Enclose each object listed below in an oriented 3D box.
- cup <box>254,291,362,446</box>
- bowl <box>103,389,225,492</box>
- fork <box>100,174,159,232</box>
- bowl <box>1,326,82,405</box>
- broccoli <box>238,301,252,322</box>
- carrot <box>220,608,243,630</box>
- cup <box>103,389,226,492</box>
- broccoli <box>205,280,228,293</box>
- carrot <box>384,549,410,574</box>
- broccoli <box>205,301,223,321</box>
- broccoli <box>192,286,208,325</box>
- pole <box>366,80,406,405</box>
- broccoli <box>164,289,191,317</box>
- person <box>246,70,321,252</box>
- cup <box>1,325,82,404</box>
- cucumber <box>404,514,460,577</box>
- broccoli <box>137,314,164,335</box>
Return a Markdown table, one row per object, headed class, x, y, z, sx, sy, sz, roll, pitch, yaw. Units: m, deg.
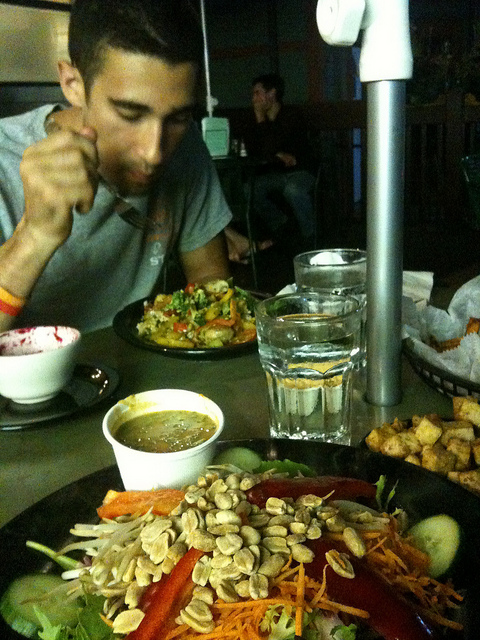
| class | x | y | z | sx | sy | sz | roll | pitch | yaw |
| --- | --- | --- | --- | --- | --- | --- | --- | --- | --- |
| cup | 0.111 | 0.101 | 0.860 | 0.136 | 0.201 | 0.136 | -5 | -2 | 0 |
| bowl | -0.101 | 0.150 | 0.708 | 0.124 | 0.093 | 0.127 | 1 | 18 | 0 |
| fork | -0.392 | -0.376 | 1.835 | 0.049 | 0.039 | 0.357 | 0 | 36 | -45 |
| bowl | -0.386 | 0.079 | 1.043 | 0.157 | 0.089 | 0.156 | -1 | 7 | 0 |
| broccoli | 0.013 | -0.025 | 1.495 | 0.033 | 0.013 | 0.051 | -4 | 61 | -26 |
| carrot | -0.007 | 0.255 | 0.470 | 0.007 | 0.005 | 0.029 | 15 | 34 | 30 |
| cup | -0.101 | 0.150 | 0.711 | 0.123 | 0.091 | 0.126 | 1 | 18 | 0 |
| broccoli | -0.069 | -0.100 | 1.618 | 0.059 | 0.021 | 0.064 | 6 | 14 | 8 |
| carrot | 0.152 | 0.233 | 0.530 | 0.023 | 0.021 | 0.010 | 4 | 18 | 26 |
| broccoli | -0.073 | -0.026 | 1.486 | 0.037 | 0.015 | 0.050 | 3 | 52 | -9 |
| broccoli | -0.113 | -0.040 | 1.522 | 0.034 | 0.039 | 0.107 | 27 | 36 | -28 |
| pole | 0.220 | -0.089 | 0.833 | 0.055 | 0.506 | 0.081 | 0 | 17 | 14 |
| broccoli | -0.167 | -0.053 | 1.532 | 0.068 | 0.022 | 0.072 | 26 | 59 | 7 |
| person | 0.359 | -1.376 | 4.846 | 0.645 | 1.550 | 0.692 | 0 | 17 | 15 |
| cup | -0.385 | 0.085 | 1.045 | 0.157 | 0.093 | 0.156 | -1 | 7 | 0 |
| cucumber | 0.199 | 0.222 | 0.557 | 0.042 | 0.038 | 0.066 | -4 | 16 | 2 |
| broccoli | -0.239 | 0.005 | 1.482 | 0.060 | 0.031 | 0.051 | -26 | -4 | -44 |
